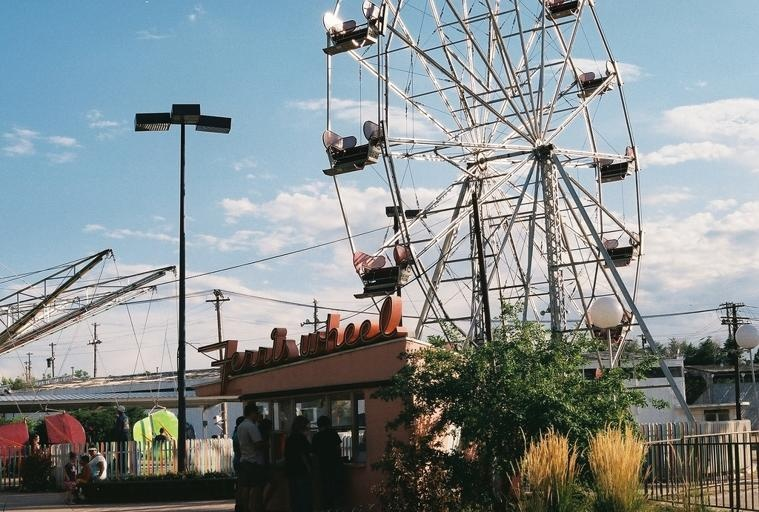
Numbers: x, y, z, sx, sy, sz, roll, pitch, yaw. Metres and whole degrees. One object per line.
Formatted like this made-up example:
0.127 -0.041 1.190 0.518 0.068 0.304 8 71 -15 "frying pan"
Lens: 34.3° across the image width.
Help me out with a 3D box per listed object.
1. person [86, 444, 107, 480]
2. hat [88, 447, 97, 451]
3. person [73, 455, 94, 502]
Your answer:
-10.164 7.536 44.538 0.484 0.916 0.832 1 -26 -37 "person"
-10.457 7.137 45.256 0.286 0.074 0.285 4 -8 -18 "hat"
-10.415 7.976 43.697 0.847 1.645 0.800 0 -33 -2 "person"
